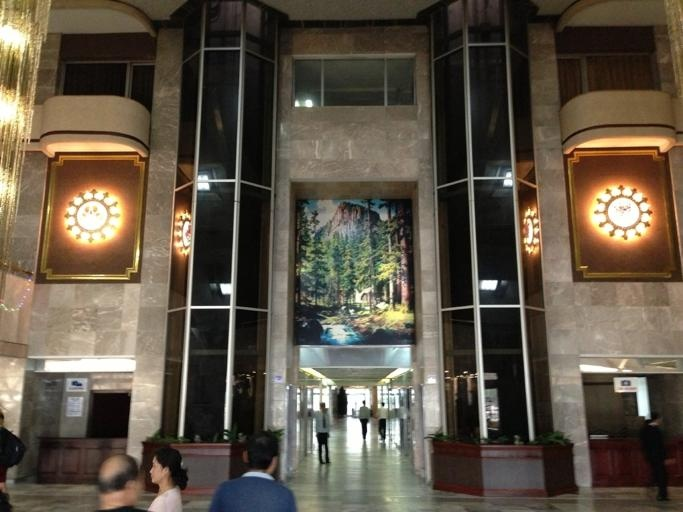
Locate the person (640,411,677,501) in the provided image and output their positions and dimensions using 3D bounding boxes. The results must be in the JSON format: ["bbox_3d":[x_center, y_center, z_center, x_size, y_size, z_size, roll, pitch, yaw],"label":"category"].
[{"bbox_3d":[6.299,4.051,12.000,0.426,1.738,0.648,-7,-14,26],"label":"person"}]
